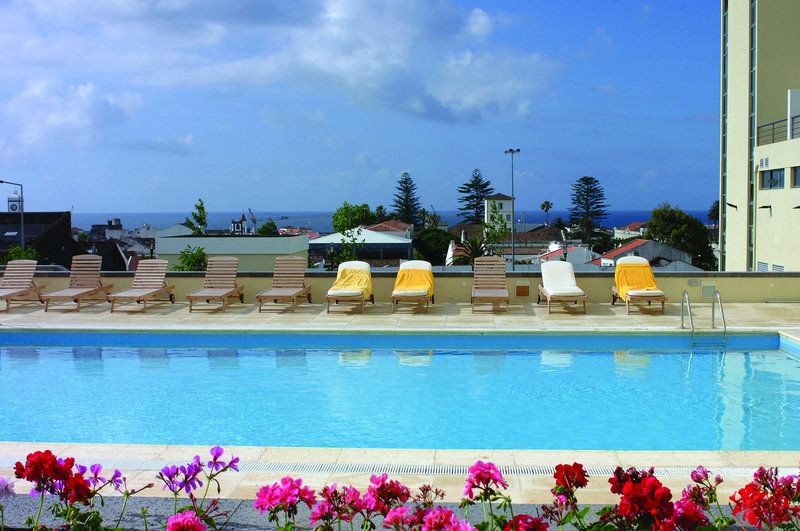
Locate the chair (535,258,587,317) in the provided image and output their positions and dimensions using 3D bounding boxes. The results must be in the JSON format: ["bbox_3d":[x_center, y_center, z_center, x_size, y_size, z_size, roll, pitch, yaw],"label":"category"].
[{"bbox_3d":[3.252,0.392,15.074,0.816,0.777,1.329,-1,10,-3],"label":"chair"}]

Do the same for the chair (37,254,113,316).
[{"bbox_3d":[-6.896,0.331,15.758,0.899,0.916,2.080,2,8,0],"label":"chair"}]

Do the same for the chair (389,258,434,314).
[{"bbox_3d":[0.271,0.406,15.590,0.834,0.956,1.254,0,11,3],"label":"chair"}]

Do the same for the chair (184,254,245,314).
[{"bbox_3d":[-3.841,0.359,15.460,0.753,0.949,1.787,0,8,2],"label":"chair"}]

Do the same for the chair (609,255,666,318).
[{"bbox_3d":[4.800,0.385,15.027,0.962,1.023,1.480,1,12,12],"label":"chair"}]

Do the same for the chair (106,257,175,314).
[{"bbox_3d":[-5.361,0.383,15.473,0.891,0.905,1.787,1,6,2],"label":"chair"}]

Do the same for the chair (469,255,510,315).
[{"bbox_3d":[1.824,0.345,15.212,0.768,0.804,1.288,1,16,10],"label":"chair"}]

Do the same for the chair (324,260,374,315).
[{"bbox_3d":[-1.057,0.443,15.552,0.989,0.935,1.272,-2,11,-3],"label":"chair"}]

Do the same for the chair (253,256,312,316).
[{"bbox_3d":[-2.446,0.304,15.483,0.783,0.848,1.448,0,5,3],"label":"chair"}]
